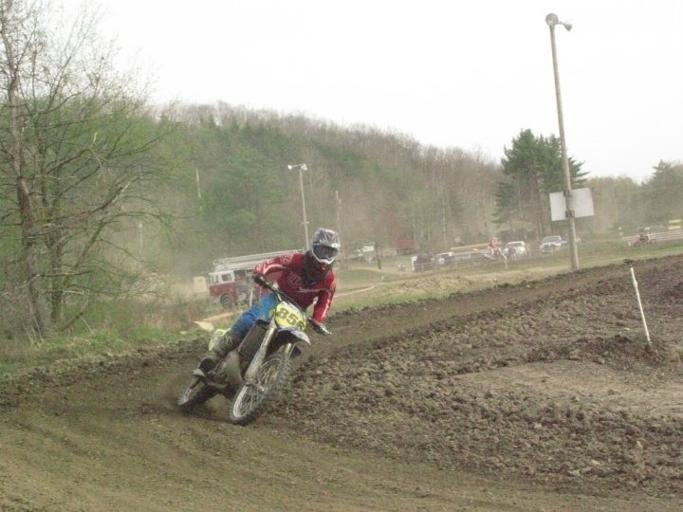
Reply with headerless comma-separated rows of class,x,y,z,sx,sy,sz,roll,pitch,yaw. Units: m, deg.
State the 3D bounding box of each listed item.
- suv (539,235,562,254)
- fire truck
suv,16.165,-1.061,58.867,1.283,1.326,3.064,-4,-2,16
fire truck,-4.246,1.132,37.719,4.744,2.644,1.459,-5,3,39
